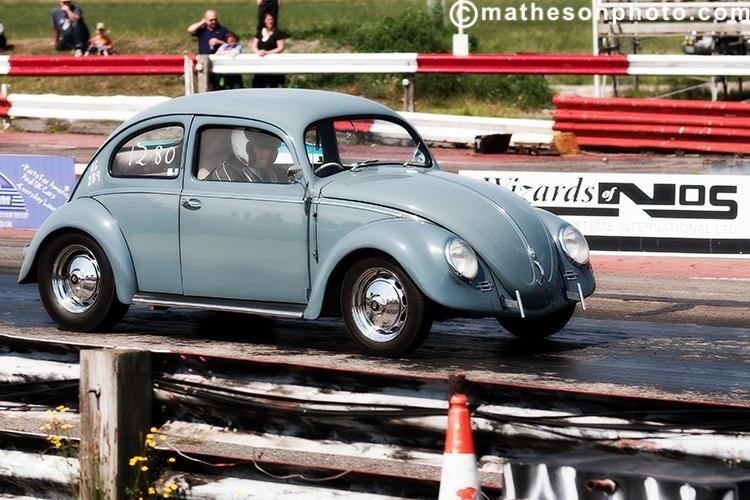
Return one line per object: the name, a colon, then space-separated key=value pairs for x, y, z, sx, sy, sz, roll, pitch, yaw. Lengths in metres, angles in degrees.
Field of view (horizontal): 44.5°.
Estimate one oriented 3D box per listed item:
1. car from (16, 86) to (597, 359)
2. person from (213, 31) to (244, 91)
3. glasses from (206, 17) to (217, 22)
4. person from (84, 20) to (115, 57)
car: x=-0.767 y=-0.306 z=9.027 sx=5.008 sy=2.354 sz=1.429 roll=4 pitch=11 yaw=17
person: x=-2.875 y=-3.765 z=17.925 sx=0.478 sy=1.097 sz=1.195 roll=-1 pitch=10 yaw=-9
glasses: x=-3.265 y=-4.710 z=18.502 sx=0.131 sy=0.090 sz=0.248 roll=8 pitch=12 yaw=35
person: x=-7.661 y=-6.071 z=26.094 sx=1.162 sy=0.771 sz=1.694 roll=0 pitch=18 yaw=-7
